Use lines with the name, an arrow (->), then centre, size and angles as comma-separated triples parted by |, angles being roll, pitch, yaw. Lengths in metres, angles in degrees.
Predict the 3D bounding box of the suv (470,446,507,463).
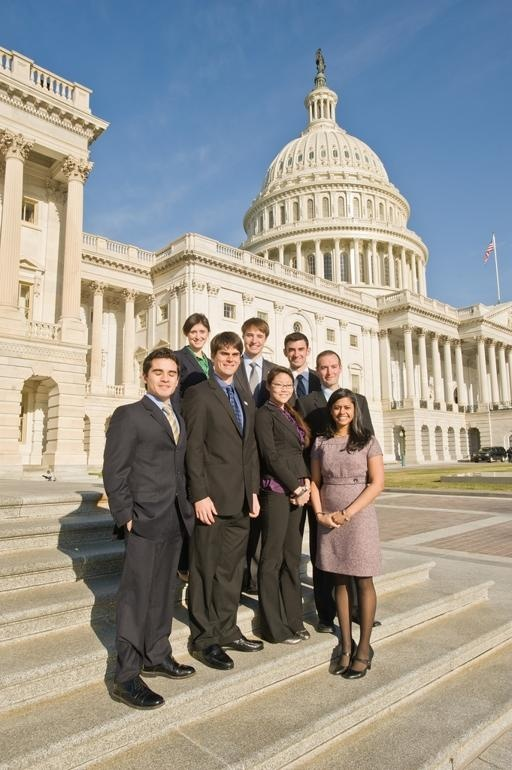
suv -> 16.900, 5.031, 45.610 | 2.216, 1.000, 1.261 | 3, -7, -15

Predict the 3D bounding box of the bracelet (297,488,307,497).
bracelet -> 0.354, 0.822, 4.827 | 0.016, 0.052, 0.056 | 37, 10, -13

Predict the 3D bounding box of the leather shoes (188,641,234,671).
leather shoes -> -0.303, 1.812, 4.266 | 0.121, 0.122, 0.338 | 11, -15, -38

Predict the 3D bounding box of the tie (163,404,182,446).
tie -> -0.618, 0.277, 4.461 | 0.061, 0.238, 0.178 | -25, -37, 23

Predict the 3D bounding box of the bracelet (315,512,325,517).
bracelet -> 0.475, 0.957, 4.705 | 0.075, 0.055, 0.075 | 0, -5, 2

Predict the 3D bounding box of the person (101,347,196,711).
person -> -0.708, 0.798, 4.147 | 0.517, 2.168, 0.864 | -3, -6, 15

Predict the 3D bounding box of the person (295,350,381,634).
person -> 0.495, 0.763, 5.393 | 0.742, 2.395, 0.665 | 4, -23, 5

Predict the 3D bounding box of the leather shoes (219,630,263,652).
leather shoes -> -0.094, 1.822, 4.529 | 0.356, 0.152, 0.120 | -2, -11, 4

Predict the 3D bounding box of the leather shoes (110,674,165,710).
leather shoes -> -0.690, 1.765, 3.700 | 0.320, 0.152, 0.126 | -4, -9, 33

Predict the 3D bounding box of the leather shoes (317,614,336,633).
leather shoes -> 0.554, 1.872, 4.942 | 0.194, 0.135, 0.065 | -4, -7, 23

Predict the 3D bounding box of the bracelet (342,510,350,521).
bracelet -> 0.629, 0.916, 4.460 | 0.054, 0.073, 0.026 | -3, -9, 12

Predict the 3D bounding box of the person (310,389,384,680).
person -> 0.679, 1.001, 4.592 | 0.499, 1.960, 0.617 | -2, -6, 0

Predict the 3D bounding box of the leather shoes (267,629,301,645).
leather shoes -> 0.211, 1.825, 4.627 | 0.256, 0.107, 0.094 | -2, -1, 5

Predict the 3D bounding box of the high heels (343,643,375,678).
high heels -> 0.719, 1.860, 4.312 | 0.140, 0.175, 0.334 | -6, -7, 39
